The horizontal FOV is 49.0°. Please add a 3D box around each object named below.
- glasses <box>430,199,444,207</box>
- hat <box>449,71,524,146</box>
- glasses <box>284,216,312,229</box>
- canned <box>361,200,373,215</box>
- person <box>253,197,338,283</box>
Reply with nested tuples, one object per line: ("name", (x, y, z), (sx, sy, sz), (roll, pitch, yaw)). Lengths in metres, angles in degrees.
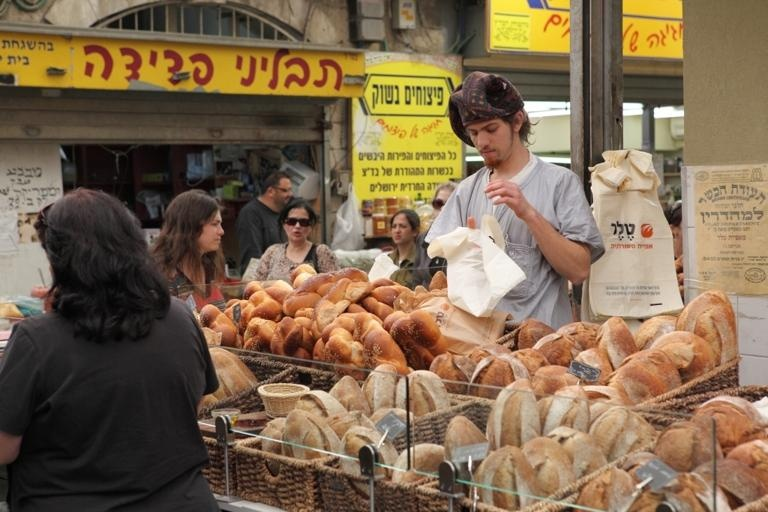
("glasses", (0.520, -0.501, 7.959), (0.087, 0.095, 0.031), (17, -19, 23))
("hat", (0.551, -0.820, 4.594), (0.435, 0.396, 0.435), (-1, 4, 16))
("glasses", (-0.722, -0.290, 7.112), (0.215, 0.084, 0.106), (-2, 4, -4))
("canned", (-0.195, -0.590, 10.094), (0.141, 0.151, 0.148), (0, 1, 19))
("person", (-0.772, -0.060, 7.191), (0.823, 0.824, 0.487), (4, -1, -9))
